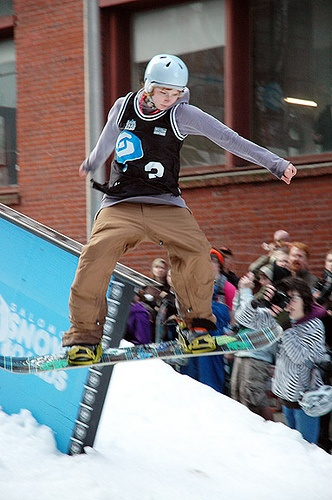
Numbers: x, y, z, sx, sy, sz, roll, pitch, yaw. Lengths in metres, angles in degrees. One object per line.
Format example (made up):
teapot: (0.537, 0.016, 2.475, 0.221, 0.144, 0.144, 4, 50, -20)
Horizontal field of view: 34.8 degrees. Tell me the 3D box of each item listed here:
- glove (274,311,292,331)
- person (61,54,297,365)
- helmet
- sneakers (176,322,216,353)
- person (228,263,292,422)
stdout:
glove: (0.845, 0.502, 3.823, 0.125, 0.147, 0.046, -10, -3, -16)
person: (-0.018, -0.173, 2.879, 0.914, 1.684, 0.381, 7, 0, -7)
helmet: (0.001, -0.924, 2.839, 0.194, 0.167, 0.231, 7, -5, -14)
sneakers: (0.171, 0.484, 2.942, 0.187, 0.065, 0.144, 22, 3, 26)
person: (0.709, 0.727, 4.207, 0.213, 1.185, 0.310, 1, 1, -32)
